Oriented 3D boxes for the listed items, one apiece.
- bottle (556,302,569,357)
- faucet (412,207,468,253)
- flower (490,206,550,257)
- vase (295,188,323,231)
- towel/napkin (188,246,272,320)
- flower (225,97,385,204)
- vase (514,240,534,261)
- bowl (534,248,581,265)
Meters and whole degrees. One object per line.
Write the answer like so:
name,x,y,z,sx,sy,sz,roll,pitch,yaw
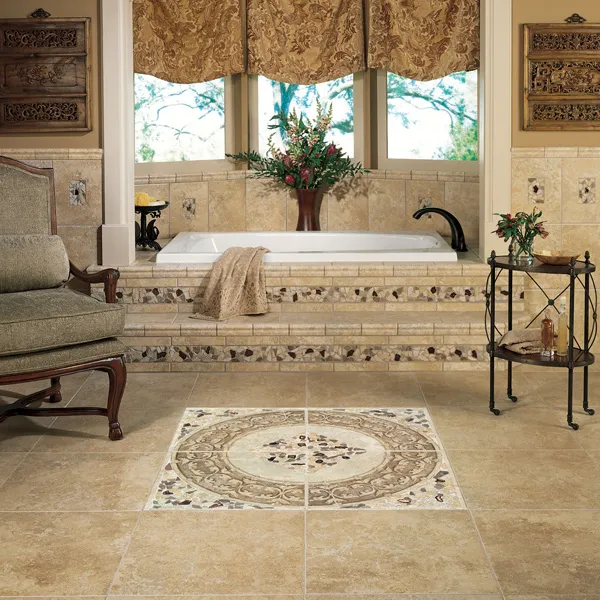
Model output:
bottle,1.111,0.120,2.596,0.049,0.216,0.200,3,9,23
faucet,1.039,-0.525,4.591,0.418,0.333,0.197,-8,17,-3
flower,1.021,-0.299,2.761,0.251,0.203,0.224,0,0,-36
vase,0.072,-0.736,5.002,0.213,0.340,0.388,-1,8,1
towel/napkin,-0.384,-0.105,3.605,0.427,0.394,0.322,-4,9,-20
flower,-0.009,-1.129,4.977,0.649,0.407,0.662,8,44,26
vase,0.985,-0.218,2.703,0.078,0.092,0.134,2,8,20
bowl,1.149,-0.194,2.741,0.211,0.051,0.248,2,2,40
